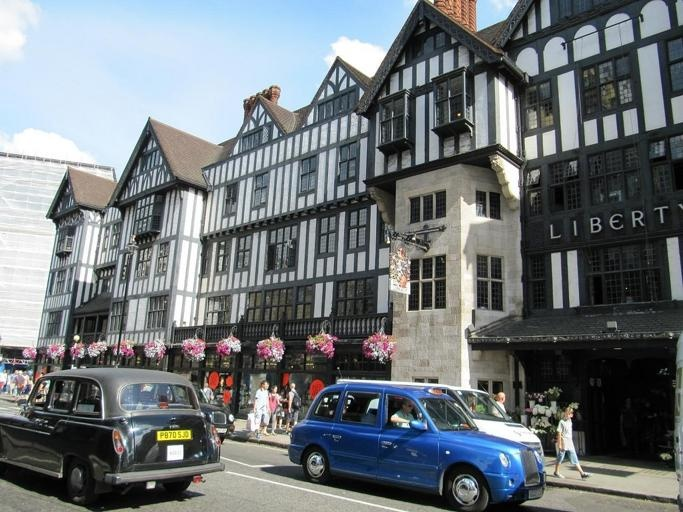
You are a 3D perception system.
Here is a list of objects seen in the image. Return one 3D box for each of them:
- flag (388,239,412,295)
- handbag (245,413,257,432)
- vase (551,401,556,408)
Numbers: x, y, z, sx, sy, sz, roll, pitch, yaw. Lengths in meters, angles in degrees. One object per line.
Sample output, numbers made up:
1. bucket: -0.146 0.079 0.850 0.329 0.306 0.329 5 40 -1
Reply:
1. flag: 2.462 0.448 21.495 0.188 2.555 1.911 -6 -16 33
2. handbag: -3.407 6.414 19.984 0.381 0.779 0.724 6 -6 -8
3. vase: 7.607 5.273 18.590 0.177 0.268 0.179 3 -9 8
